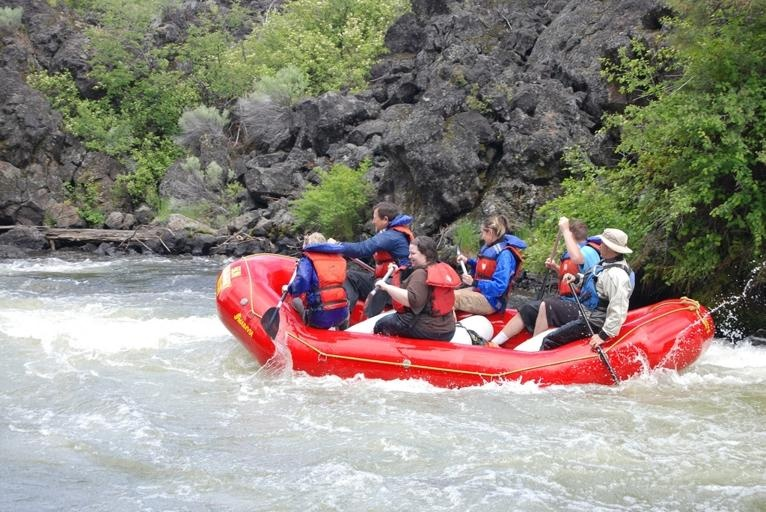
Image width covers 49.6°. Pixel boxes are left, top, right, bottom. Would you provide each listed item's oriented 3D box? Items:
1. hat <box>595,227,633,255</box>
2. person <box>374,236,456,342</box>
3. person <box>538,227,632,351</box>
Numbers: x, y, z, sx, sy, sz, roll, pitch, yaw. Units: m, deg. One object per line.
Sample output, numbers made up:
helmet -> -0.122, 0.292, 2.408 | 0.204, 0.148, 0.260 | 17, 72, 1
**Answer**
hat -> 3.834, -0.263, 13.808 | 0.462, 0.185, 0.472 | 22, 20, 18
person -> 0.588, 0.574, 13.917 | 1.348, 1.830, 0.484 | -2, 14, 4
person -> 3.485, 0.565, 13.863 | 1.232, 1.967, 0.657 | 1, 15, 15
